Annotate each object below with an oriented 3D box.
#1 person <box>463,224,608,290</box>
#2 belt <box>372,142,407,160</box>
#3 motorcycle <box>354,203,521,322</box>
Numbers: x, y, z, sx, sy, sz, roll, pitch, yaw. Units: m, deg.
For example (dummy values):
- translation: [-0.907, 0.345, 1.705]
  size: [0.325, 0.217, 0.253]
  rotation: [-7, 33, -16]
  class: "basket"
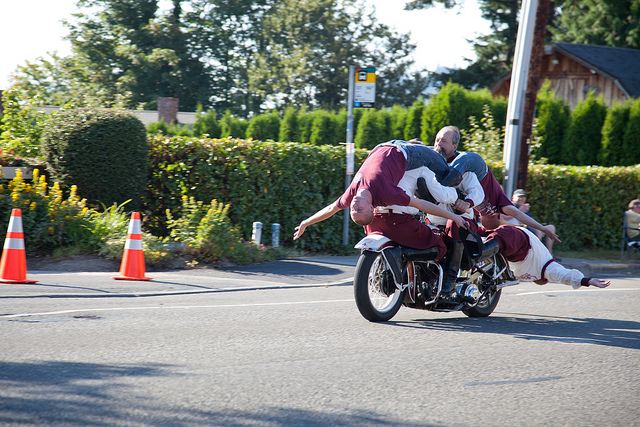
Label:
- translation: [2.978, 0.471, 10.127]
  size: [1.389, 0.331, 1.262]
  rotation: [22, 1, -5]
  class: "person"
- translation: [0.937, -0.827, 9.544]
  size: [0.297, 0.217, 0.102]
  rotation: [3, -16, 12]
  class: "belt"
- translation: [1.410, 0.903, 9.768]
  size: [2.694, 1.472, 1.123]
  rotation: [2, 1, -32]
  class: "motorcycle"
